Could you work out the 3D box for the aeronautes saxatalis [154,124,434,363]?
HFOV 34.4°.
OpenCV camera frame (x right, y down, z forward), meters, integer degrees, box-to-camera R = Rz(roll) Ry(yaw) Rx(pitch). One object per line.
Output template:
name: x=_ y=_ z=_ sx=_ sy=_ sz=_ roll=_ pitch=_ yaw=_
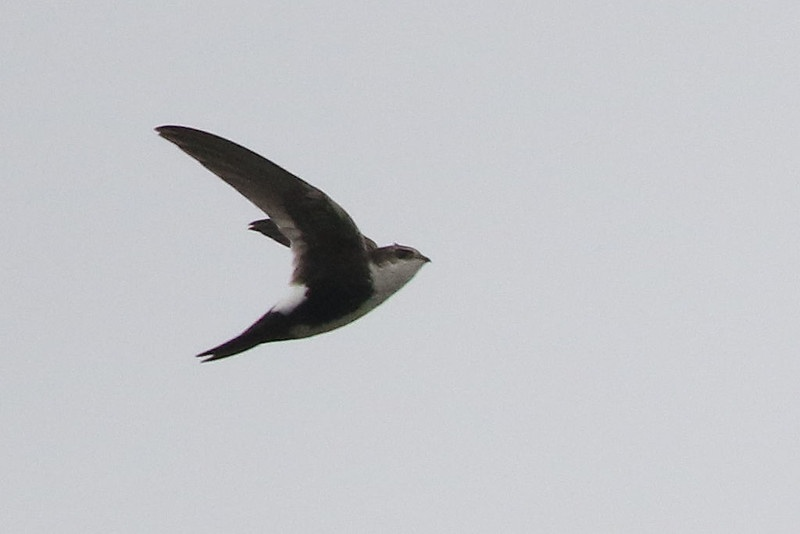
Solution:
aeronautes saxatalis: x=-0.773 y=-0.191 z=10.707 sx=1.914 sy=1.046 sz=2.589 roll=-16 pitch=-20 yaw=3
